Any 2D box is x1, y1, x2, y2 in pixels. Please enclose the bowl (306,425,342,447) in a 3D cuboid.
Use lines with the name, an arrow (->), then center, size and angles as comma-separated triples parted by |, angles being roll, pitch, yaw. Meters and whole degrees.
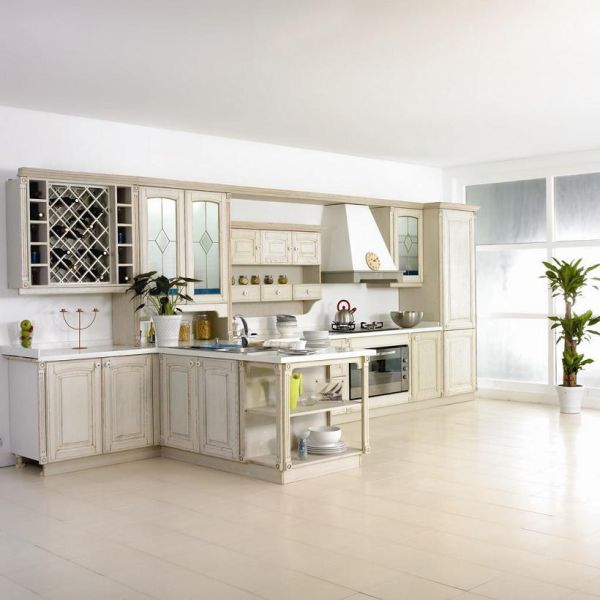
bowl -> 0.163, 1.014, 4.013 | 0.171, 0.078, 0.140 | -3, -2, 31

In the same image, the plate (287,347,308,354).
plate -> -0.027, 0.366, 3.823 | 0.142, 0.045, 0.216 | -1, -5, 0

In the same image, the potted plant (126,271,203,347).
potted plant -> -1.221, 0.091, 4.730 | 0.624, 0.606, 0.624 | -4, -6, 37

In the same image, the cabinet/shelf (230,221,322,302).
cabinet/shelf -> -0.291, -0.412, 5.668 | 0.906, 0.688, 0.306 | -1, -1, -42

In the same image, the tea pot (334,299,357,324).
tea pot -> 0.529, 0.154, 6.396 | 0.202, 0.333, 0.325 | -9, -11, 44

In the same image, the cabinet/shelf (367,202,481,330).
cabinet/shelf -> 1.550, -0.450, 6.793 | 1.616, 2.230, 0.839 | 1, -3, -43

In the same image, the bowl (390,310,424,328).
bowl -> 1.310, 0.246, 6.602 | 0.350, 0.223, 0.290 | -2, -5, 9

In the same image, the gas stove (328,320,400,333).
gas stove -> 0.774, 0.321, 6.430 | 0.632, 0.177, 1.297 | -4, -6, 31

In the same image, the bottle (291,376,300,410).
bottle -> -0.029, 0.652, 3.809 | 0.067, 0.238, 0.157 | -3, -5, 20

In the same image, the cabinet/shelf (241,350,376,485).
cabinet/shelf -> 0.040, 0.818, 3.936 | 0.917, 0.901, 0.528 | 3, -7, -42

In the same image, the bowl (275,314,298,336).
bowl -> -0.164, 0.273, 5.818 | 0.213, 0.230, 0.236 | -1, -1, 44

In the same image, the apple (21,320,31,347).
apple -> -2.206, 0.269, 4.297 | 0.094, 0.217, 0.108 | 3, -6, -39

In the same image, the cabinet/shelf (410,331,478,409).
cabinet/shelf -> 1.755, 0.878, 6.675 | 0.971, 0.848, 0.379 | 0, -2, -38

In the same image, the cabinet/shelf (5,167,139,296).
cabinet/shelf -> -1.900, -0.547, 4.351 | 0.327, 1.036, 1.103 | -2, -1, 45

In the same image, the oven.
oven -> 1.040, 0.899, 6.310 | 0.817, 0.547, 0.433 | -12, -28, 35

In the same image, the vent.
vent -> 0.714, -0.664, 6.446 | 0.869, 0.895, 0.691 | -2, 2, -44
